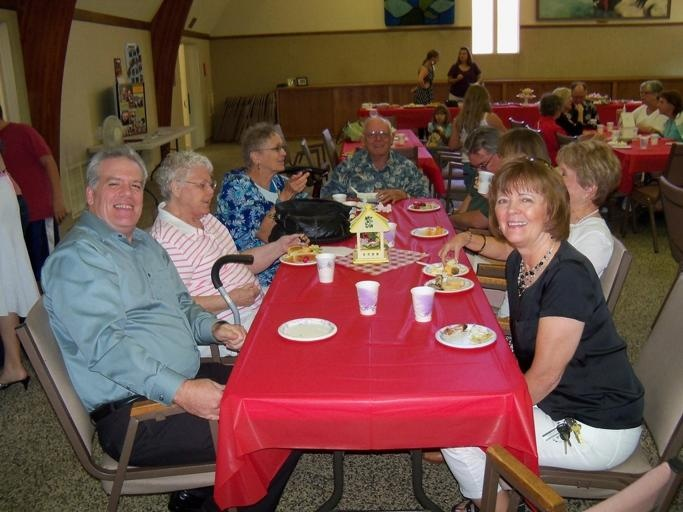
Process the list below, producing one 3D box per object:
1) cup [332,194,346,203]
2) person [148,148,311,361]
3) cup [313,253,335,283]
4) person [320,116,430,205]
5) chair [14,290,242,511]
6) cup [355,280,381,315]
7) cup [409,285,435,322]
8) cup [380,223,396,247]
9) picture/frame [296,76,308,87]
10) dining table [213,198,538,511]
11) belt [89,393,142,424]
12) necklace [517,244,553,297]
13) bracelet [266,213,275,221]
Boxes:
[{"bbox_3d":[-0.005,-0.431,3.791,0.097,0.078,0.103,0,7,0],"label":"cup"},{"bbox_3d":[-0.666,0.188,3.002,0.635,1.546,0.858,16,27,35],"label":"person"},{"bbox_3d":[-0.081,0.053,2.526,0.113,0.137,0.121,-1,12,0],"label":"cup"},{"bbox_3d":[0.310,-0.733,4.629,0.968,0.980,0.593,7,8,11],"label":"person"},{"bbox_3d":[-0.839,0.424,2.284,0.747,1.145,0.751,-5,31,-8],"label":"chair"},{"bbox_3d":[0.108,0.166,2.155,0.112,0.132,0.121,-1,15,0],"label":"cup"},{"bbox_3d":[0.323,0.184,2.095,0.113,0.136,0.118,-2,16,1],"label":"cup"},{"bbox_3d":[0.289,-0.141,3.058,0.116,0.134,0.124,-2,31,1],"label":"cup"},{"bbox_3d":[-1.056,-4.725,13.734,0.383,0.373,0.248,0,23,-5],"label":"picture/frame"},{"bbox_3d":[0.109,0.499,2.073,1.042,0.466,0.960,-1,19,1],"label":"dining table"},{"bbox_3d":[-0.909,0.602,2.054,0.151,0.044,0.120,-27,9,-26],"label":"belt"},{"bbox_3d":[0.745,0.053,1.994,0.043,0.165,0.119,22,-2,-13],"label":"necklace"},{"bbox_3d":[-0.467,-0.262,3.401,0.054,0.058,0.016,-1,-3,4],"label":"bracelet"}]
